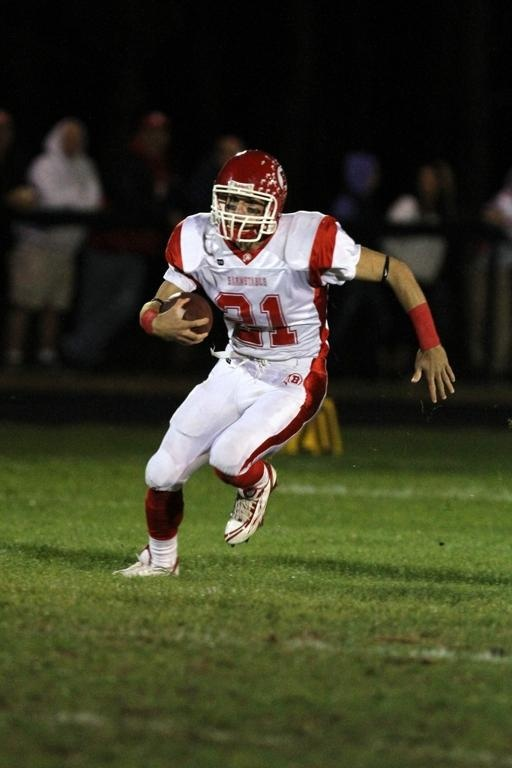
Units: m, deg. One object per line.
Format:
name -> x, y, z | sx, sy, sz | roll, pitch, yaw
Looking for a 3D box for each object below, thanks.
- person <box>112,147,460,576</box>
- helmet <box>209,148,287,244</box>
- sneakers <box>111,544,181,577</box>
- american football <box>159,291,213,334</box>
person -> 0.048, -0.091, 2.811 | 0.973, 1.389, 0.417 | 2, 1, -9
helmet -> -0.025, -0.625, 2.791 | 0.242, 0.352, 0.217 | 2, 1, -3
sneakers -> -0.349, 0.562, 2.631 | 0.203, 0.075, 0.173 | 1, 1, 7
american football -> -0.216, -0.230, 2.755 | 0.165, 0.073, 0.146 | 10, 16, 4
